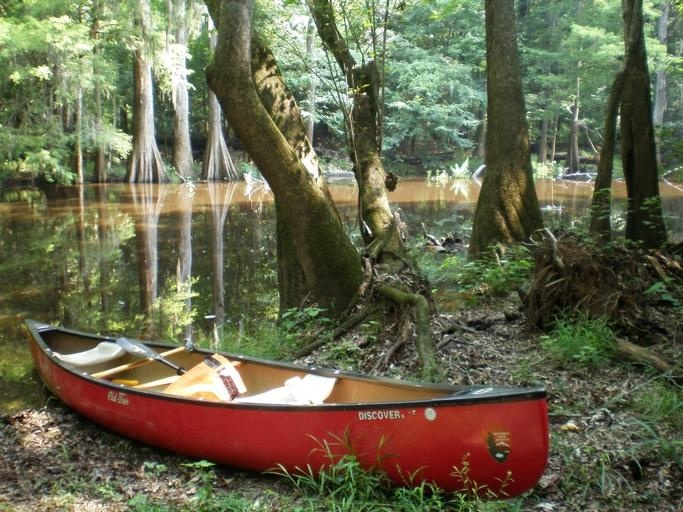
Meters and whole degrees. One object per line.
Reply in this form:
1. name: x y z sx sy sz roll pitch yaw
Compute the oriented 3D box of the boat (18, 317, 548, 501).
1. boat: -0.644 1.484 6.290 4.902 1.262 0.871 -1 4 27
